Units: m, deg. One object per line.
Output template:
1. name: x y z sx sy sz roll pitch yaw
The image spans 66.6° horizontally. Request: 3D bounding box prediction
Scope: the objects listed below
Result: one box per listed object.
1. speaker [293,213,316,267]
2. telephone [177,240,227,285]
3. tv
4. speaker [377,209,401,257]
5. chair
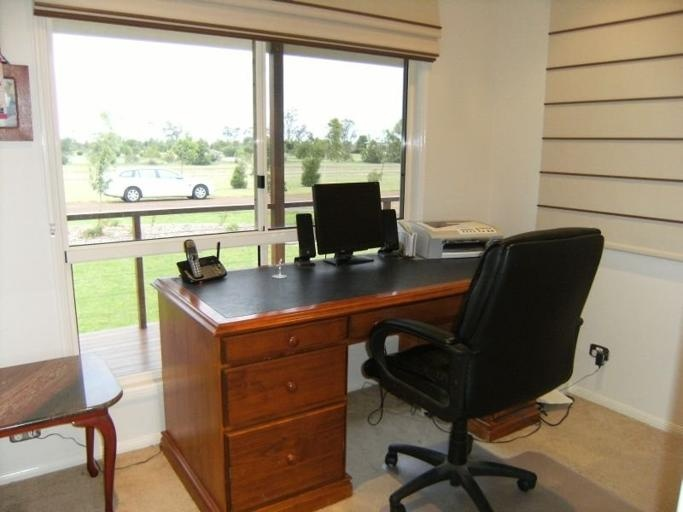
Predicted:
1. speaker: -0.200 -0.089 2.934 0.114 0.277 0.088 -5 10 -37
2. telephone: -0.691 0.031 2.614 0.209 0.184 0.167 -15 34 -43
3. tv: 0.031 -0.187 3.004 0.432 0.444 0.150 -7 10 -31
4. speaker: 0.309 -0.175 3.180 0.126 0.231 0.152 -11 8 -41
5. chair: 0.639 0.561 2.507 1.024 1.455 0.906 -10 17 -37
